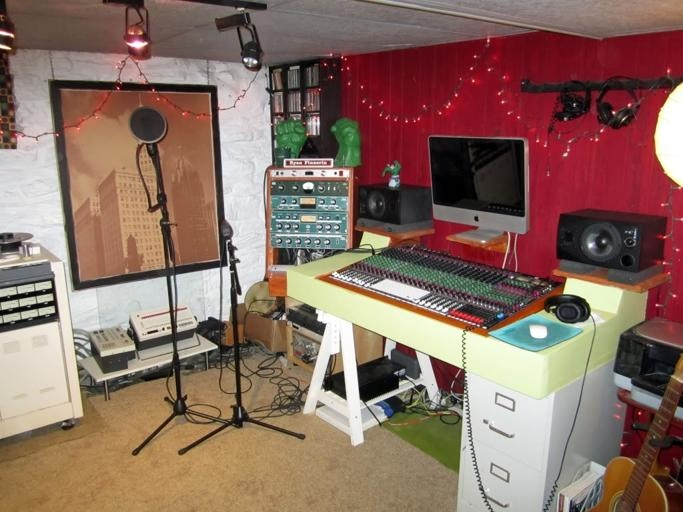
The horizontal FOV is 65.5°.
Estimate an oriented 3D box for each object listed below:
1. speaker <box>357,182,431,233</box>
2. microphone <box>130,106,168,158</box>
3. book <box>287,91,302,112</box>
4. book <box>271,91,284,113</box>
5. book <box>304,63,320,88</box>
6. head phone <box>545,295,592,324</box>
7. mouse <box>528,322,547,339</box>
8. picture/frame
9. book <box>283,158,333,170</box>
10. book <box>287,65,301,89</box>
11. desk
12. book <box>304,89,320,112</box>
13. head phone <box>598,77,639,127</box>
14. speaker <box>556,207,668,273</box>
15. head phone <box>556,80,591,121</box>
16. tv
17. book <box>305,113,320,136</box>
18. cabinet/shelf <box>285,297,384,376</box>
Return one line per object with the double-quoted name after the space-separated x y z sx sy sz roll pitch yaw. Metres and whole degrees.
0.420 -0.385 4.201 0.387 0.341 0.538 -8 15 -35 "speaker"
-1.254 -0.839 3.451 0.224 0.239 0.174 -7 14 -21 "microphone"
-0.439 -1.473 5.058 0.099 0.190 0.191 -10 17 -39 "book"
-0.628 -1.534 5.286 0.125 0.236 0.238 0 1 -10 "book"
-0.259 -1.635 4.795 0.103 0.193 0.194 -12 19 -34 "book"
1.241 0.279 2.902 0.163 0.084 0.180 -15 17 -23 "head phone"
1.016 0.381 2.720 0.075 0.074 0.042 2 -19 0 "mouse"
-1.836 -0.662 4.647 1.758 2.180 0.075 -9 19 -33 "picture/frame"
-0.267 -0.750 4.330 0.414 0.084 0.091 -1 13 3 "book"
-0.438 -1.688 5.006 0.109 0.205 0.209 -6 18 -20 "book"
-1.729 1.121 4.702 0.818 0.193 0.501 -18 36 -36 "desk"
-0.265 -1.410 4.833 0.018 0.192 0.222 -12 17 -39 "book"
1.646 -0.911 3.150 0.234 0.297 0.170 12 8 25 "head phone"
1.465 -0.062 3.028 0.409 0.260 0.297 10 -1 25 "speaker"
1.410 -0.947 3.251 0.207 0.196 0.182 -29 35 -24 "head phone"
0.926 -0.459 3.505 0.649 0.642 0.224 11 28 42 "tv"
-0.261 -1.212 4.876 0.017 0.248 0.209 -15 26 -38 "book"
-0.179 0.693 4.530 0.342 0.476 0.617 -14 16 -41 "cabinet/shelf"
